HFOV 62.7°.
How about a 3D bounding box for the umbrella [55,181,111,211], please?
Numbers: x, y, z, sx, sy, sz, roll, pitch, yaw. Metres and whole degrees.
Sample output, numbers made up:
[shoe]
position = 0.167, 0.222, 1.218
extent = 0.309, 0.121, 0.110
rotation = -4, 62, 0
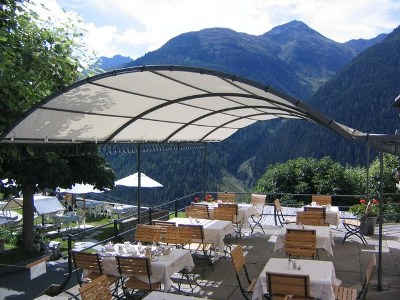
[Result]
[umbrella]
position = -7.367, 2.475, 19.965
extent = 3.387, 1.736, 3.475
rotation = -1, -6, 6
